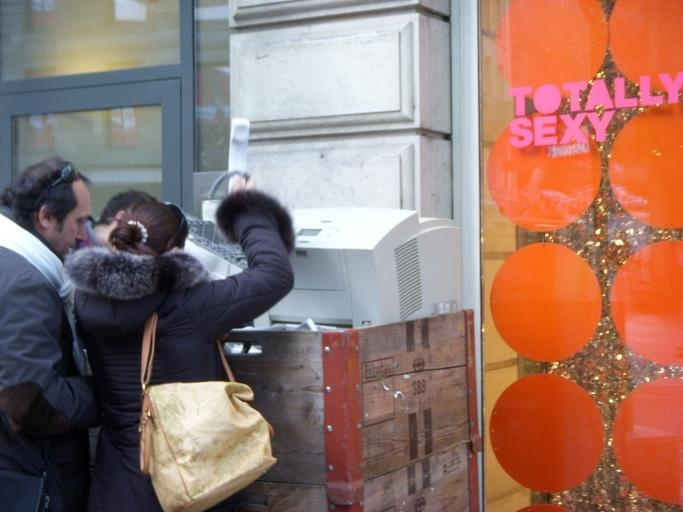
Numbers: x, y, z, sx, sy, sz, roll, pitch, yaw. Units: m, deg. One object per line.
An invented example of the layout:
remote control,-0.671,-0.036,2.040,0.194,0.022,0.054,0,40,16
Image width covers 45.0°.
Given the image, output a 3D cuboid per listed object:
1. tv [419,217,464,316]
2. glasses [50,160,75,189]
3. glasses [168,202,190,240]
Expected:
tv,0.387,0.047,3.253,0.163,0.360,0.245,-17,22,-17
glasses,-1.028,-0.290,3.057,0.063,0.091,0.052,19,-32,6
glasses,-0.573,-0.128,2.920,0.076,0.116,0.050,-4,-4,35
